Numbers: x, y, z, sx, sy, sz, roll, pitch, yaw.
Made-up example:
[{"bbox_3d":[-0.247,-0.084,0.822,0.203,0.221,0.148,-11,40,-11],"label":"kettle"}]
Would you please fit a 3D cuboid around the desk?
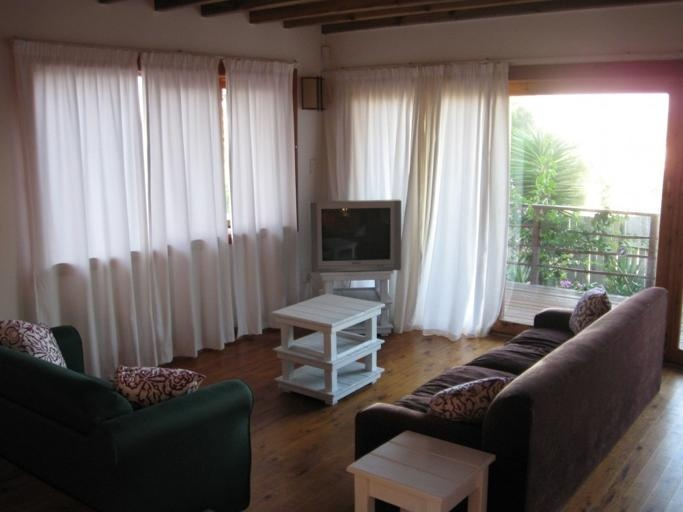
[{"bbox_3d":[-0.040,0.708,4.564,0.777,0.905,0.910,9,19,36],"label":"desk"}]
